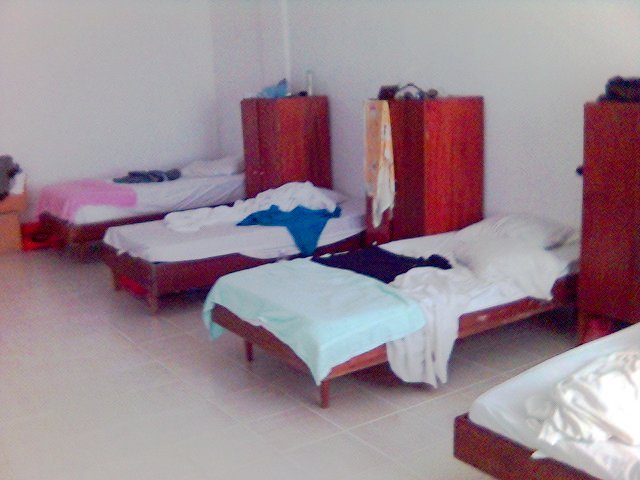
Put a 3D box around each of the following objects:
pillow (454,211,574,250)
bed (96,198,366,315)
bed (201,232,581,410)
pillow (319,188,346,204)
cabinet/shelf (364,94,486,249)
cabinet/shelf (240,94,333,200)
[{"bbox_3d":[1.200,-0.072,3.130,0.295,0.101,0.377,-15,20,-37],"label":"pillow"},{"bbox_3d":[-0.633,0.081,3.999,1.459,0.333,0.763,-11,17,-37],"label":"bed"},{"bbox_3d":[0.603,0.443,2.755,1.559,0.342,0.847,-13,20,-33],"label":"bed"},{"bbox_3d":[0.121,-0.393,4.557,0.188,0.045,0.152,4,12,-34],"label":"pillow"},{"bbox_3d":[0.756,-0.495,3.539,0.749,1.316,0.727,-14,22,-33],"label":"cabinet/shelf"},{"bbox_3d":[-0.284,-0.849,4.655,0.779,0.845,0.314,-3,17,0],"label":"cabinet/shelf"}]
